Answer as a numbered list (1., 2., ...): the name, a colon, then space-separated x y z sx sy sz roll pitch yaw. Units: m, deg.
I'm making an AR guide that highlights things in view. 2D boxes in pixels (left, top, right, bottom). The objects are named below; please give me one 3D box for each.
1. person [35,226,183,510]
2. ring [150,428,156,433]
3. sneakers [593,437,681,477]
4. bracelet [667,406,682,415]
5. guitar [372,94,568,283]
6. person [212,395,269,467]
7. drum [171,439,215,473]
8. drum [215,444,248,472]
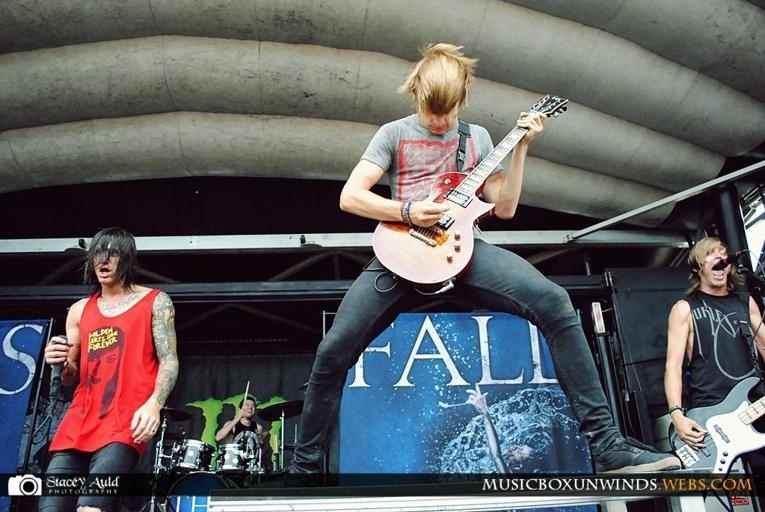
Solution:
1. person: -2.137 0.710 5.609 0.881 2.082 0.269 -1 -24 5
2. ring: -1.781 1.352 5.285 0.027 0.024 0.037 2 4 -33
3. sneakers: 1.713 1.375 4.677 0.603 0.238 0.223 -10 -33 19
4. bracelet: 2.665 1.373 6.183 0.115 0.057 0.068 -18 -26 -18
5. guitar: 0.690 -0.626 4.985 0.728 2.005 0.236 32 -30 18
6. person: -1.926 2.301 9.168 0.795 1.081 0.644 6 -69 -6
7. drum: -2.107 2.230 7.555 0.385 0.233 0.377 3 -36 2
8. drum: -1.730 2.313 7.860 0.315 0.230 0.309 2 -46 2
